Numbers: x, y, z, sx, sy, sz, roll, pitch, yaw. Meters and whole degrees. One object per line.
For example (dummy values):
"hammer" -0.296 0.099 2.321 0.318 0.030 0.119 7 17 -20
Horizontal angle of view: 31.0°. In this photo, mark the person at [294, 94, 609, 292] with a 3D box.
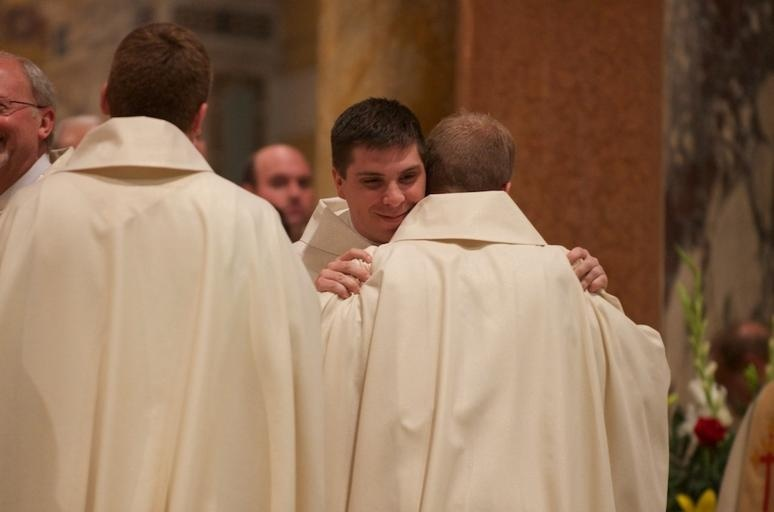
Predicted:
"person" -0.029 -0.239 5.659 1.434 0.786 0.562 -6 18 -6
